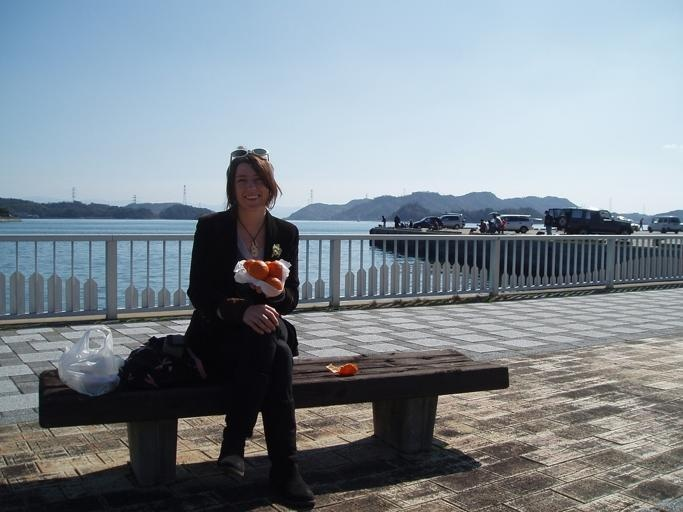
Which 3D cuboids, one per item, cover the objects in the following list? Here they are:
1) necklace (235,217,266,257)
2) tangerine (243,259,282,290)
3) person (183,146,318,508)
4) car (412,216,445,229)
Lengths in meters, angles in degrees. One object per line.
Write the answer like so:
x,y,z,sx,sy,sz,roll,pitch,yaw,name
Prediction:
-0.577,-0.115,3.177,0.288,0.312,0.018,0,-7,-27,necklace
-0.423,0.089,2.851,0.191,0.086,0.183,22,4,20,tangerine
-0.547,0.328,2.932,0.693,1.983,0.862,0,4,-13,person
9.638,-3.644,56.143,3.012,1.256,1.560,7,7,26,car
